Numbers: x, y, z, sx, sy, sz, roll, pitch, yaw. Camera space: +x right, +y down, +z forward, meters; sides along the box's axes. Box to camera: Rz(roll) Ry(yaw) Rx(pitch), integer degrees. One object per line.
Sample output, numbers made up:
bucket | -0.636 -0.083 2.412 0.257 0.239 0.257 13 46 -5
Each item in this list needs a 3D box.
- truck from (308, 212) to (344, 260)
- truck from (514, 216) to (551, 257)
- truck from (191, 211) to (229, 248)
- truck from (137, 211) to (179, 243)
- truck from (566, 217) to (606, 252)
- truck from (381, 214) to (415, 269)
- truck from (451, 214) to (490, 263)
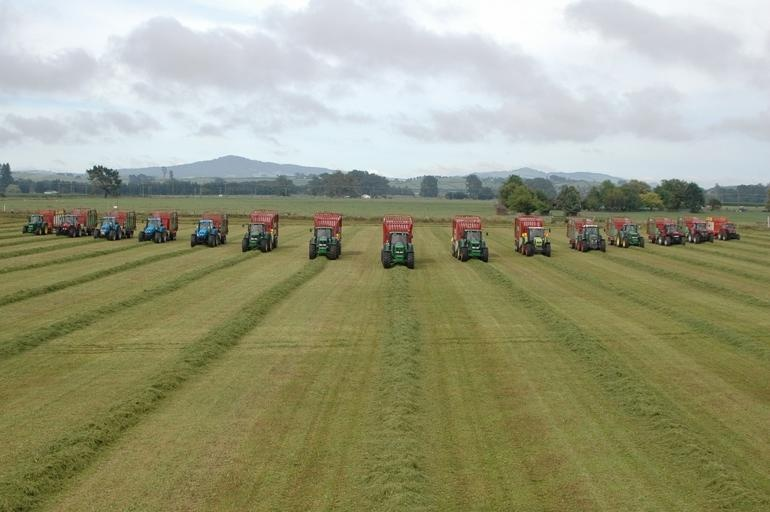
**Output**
truck | -5.007 -1.597 41.483 2.377 3.644 3.210 1 14 1
truck | 13.934 -1.802 46.467 2.170 2.636 5.695 -1 1 0
truck | -17.487 -2.559 48.745 1.979 2.378 4.898 -1 2 0
truck | -23.528 -2.909 51.974 2.399 2.279 4.706 0 1 -2
truck | 20.051 -2.018 49.288 2.083 2.271 5.572 -1 3 3
truck | 1.020 -1.062 37.521 2.288 3.506 2.751 1 14 1
truck | 7.037 -1.490 41.269 2.014 3.464 3.227 -2 14 -10
